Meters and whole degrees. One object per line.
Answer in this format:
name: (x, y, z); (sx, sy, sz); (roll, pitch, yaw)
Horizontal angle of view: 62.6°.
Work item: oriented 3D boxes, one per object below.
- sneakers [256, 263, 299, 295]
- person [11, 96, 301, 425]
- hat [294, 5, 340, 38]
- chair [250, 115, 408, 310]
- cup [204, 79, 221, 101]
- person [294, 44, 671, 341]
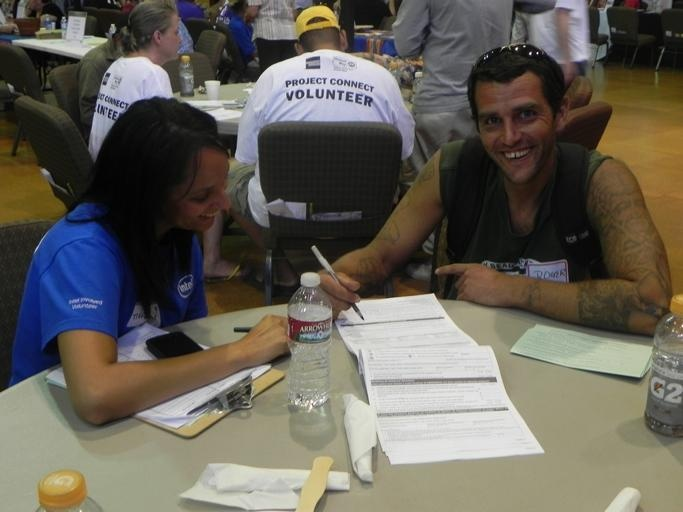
sneakers: (-0.396, 0.116, 3.417); (0.230, 0.272, 0.200); (-3, 29, -5)
person: (-0.535, -0.002, 1.589); (0.661, 0.849, 0.692); (17, 20, 16)
hat: (-0.155, -1.364, 3.306); (0.227, 0.206, 0.409); (-4, 18, -2)
chair: (-0.052, -0.308, 2.773); (0.614, 1.333, 0.771); (-1, 44, -1)
cup: (-0.898, -1.146, 3.922); (0.132, 0.168, 0.146); (-3, 9, -7)
person: (0.550, -0.030, 2.125); (1.066, 1.522, 0.780); (4, 27, 18)
